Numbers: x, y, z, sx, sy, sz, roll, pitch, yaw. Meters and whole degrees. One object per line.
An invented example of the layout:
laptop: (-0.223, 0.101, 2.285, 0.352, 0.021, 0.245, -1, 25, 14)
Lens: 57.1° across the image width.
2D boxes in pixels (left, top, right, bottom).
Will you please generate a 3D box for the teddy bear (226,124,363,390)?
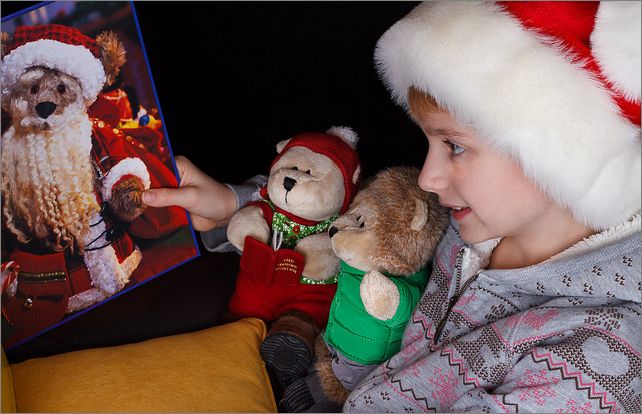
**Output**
teddy bear: (-0.062, 0.089, 1.716, 0.353, 0.779, 0.421, 9, -20, 16)
